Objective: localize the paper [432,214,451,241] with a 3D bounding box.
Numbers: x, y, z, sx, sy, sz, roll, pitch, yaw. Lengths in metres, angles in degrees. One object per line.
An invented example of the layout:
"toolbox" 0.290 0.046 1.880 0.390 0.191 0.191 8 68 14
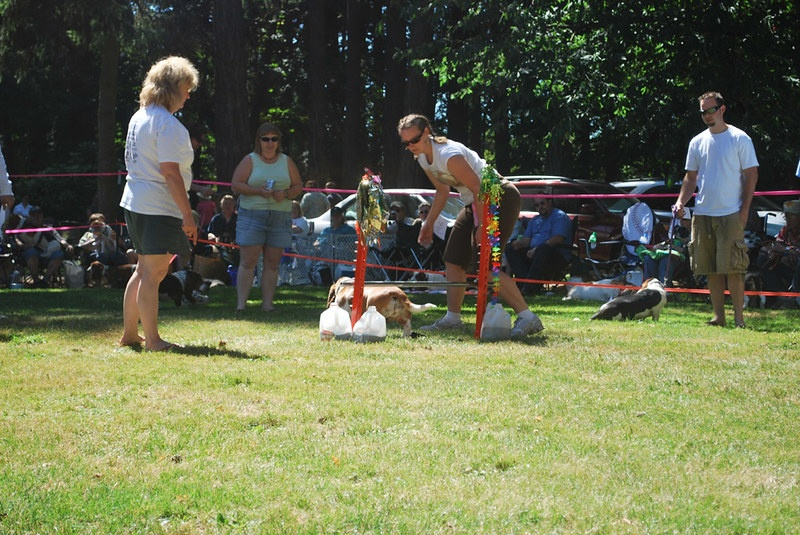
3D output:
"paper" 0.588 -0.536 13.504 0.056 0.451 0.417 -13 16 -40

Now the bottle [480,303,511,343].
"bottle" 0.987 0.550 10.062 0.408 0.553 0.306 1 4 5

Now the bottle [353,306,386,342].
"bottle" -0.242 0.583 9.880 0.304 0.314 0.230 4 9 29

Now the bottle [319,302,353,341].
"bottle" -0.643 0.565 10.017 0.349 0.572 0.306 4 -12 -24

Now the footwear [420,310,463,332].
"footwear" 0.434 0.611 10.681 0.524 0.223 0.176 1 -4 -2

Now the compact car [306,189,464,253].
"compact car" -0.160 -0.865 17.038 2.542 0.873 1.127 -2 1 22

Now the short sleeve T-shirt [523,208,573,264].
"short sleeve T-shirt" 2.362 -0.581 15.472 0.814 0.667 0.483 -3 -10 45

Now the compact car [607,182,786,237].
"compact car" 5.543 -1.274 18.353 2.641 1.370 1.547 -4 3 18

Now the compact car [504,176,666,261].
"compact car" 3.364 -0.945 17.683 2.545 1.221 1.336 2 2 35

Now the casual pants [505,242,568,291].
"casual pants" 2.081 -0.014 15.287 0.769 0.887 0.730 17 -14 -34

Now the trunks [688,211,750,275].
"trunks" 3.657 -0.272 11.173 0.684 0.696 0.404 -4 -8 43
